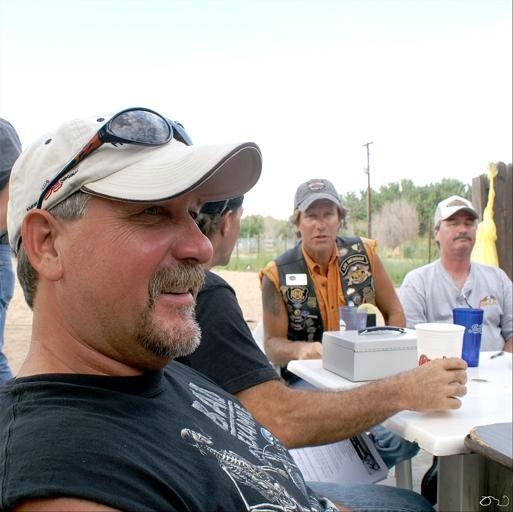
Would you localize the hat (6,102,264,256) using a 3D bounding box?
[{"bbox_3d":[-0.374,-0.136,1.410,0.629,0.214,0.342,-9,-1,19],"label":"hat"}]

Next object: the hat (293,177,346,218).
[{"bbox_3d":[0.364,-0.370,3.714,0.319,0.157,0.382,-7,4,-1],"label":"hat"}]

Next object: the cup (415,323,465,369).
[{"bbox_3d":[0.540,0.281,1.954,0.181,0.129,0.151,0,-7,4],"label":"cup"}]

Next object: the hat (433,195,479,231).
[{"bbox_3d":[1.209,-0.282,3.764,0.266,0.139,0.302,-4,-11,-3],"label":"hat"}]

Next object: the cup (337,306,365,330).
[{"bbox_3d":[0.435,0.283,2.757,0.136,0.081,0.094,2,-5,-23],"label":"cup"}]

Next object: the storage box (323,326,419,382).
[{"bbox_3d":[0.426,0.326,2.157,0.378,0.126,0.347,-1,2,-39],"label":"storage box"}]
